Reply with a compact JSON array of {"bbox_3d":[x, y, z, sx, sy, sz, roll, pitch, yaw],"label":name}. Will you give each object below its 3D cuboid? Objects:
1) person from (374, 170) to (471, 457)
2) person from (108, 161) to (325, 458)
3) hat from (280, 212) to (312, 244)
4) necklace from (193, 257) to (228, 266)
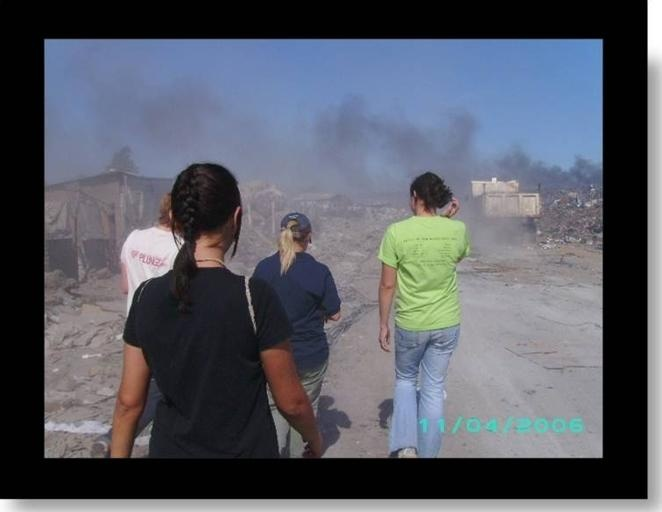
[{"bbox_3d":[0.849,0.540,4.533,0.815,2.606,0.394,1,5,7],"label":"person"},{"bbox_3d":[-0.795,0.394,3.215,1.311,1.977,0.415,1,5,4],"label":"person"},{"bbox_3d":[-0.304,-0.256,4.118,0.190,0.160,0.268,4,6,14],"label":"hat"},{"bbox_3d":[-0.768,0.037,3.097,0.179,0.056,0.048,-1,5,-16],"label":"necklace"}]
